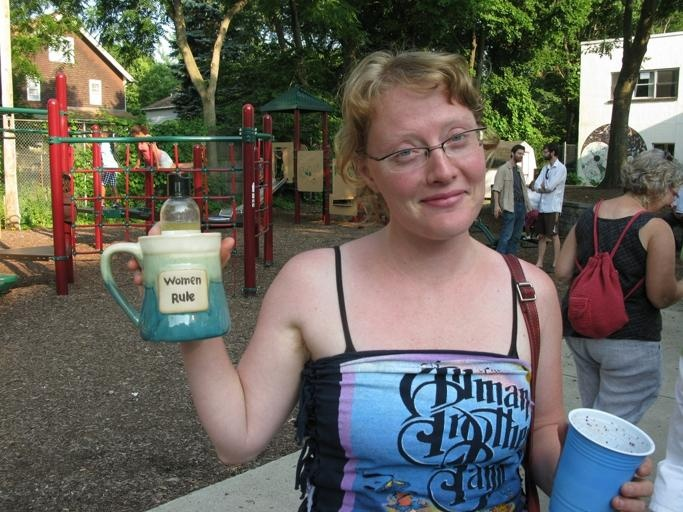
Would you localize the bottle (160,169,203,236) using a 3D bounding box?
[{"bbox_3d":[-0.520,-0.154,2.069,0.156,0.217,0.160,-1,10,0],"label":"bottle"}]

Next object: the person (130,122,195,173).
[{"bbox_3d":[-3.103,-1.846,11.495,0.550,0.722,1.599,9,6,30],"label":"person"}]
